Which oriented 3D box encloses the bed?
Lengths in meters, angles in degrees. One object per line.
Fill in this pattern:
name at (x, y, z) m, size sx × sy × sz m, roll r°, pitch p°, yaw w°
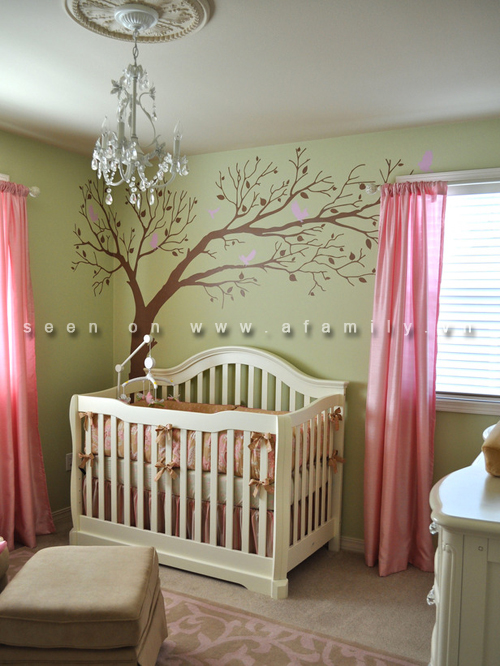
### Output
bed at (-0.233, 0.691, 3.254) m, size 1.309 × 1.170 × 0.878 m, roll 2°, pitch 0°, yaw 28°
